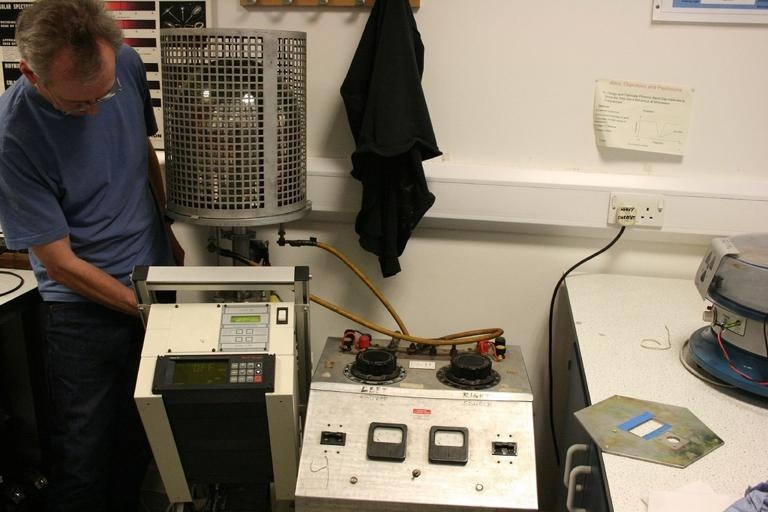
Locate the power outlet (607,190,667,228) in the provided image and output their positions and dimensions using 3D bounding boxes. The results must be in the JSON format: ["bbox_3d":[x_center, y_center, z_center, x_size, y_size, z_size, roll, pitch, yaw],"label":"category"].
[{"bbox_3d":[0.956,-0.179,2.378,0.218,0.139,0.124,2,19,5],"label":"power outlet"}]
